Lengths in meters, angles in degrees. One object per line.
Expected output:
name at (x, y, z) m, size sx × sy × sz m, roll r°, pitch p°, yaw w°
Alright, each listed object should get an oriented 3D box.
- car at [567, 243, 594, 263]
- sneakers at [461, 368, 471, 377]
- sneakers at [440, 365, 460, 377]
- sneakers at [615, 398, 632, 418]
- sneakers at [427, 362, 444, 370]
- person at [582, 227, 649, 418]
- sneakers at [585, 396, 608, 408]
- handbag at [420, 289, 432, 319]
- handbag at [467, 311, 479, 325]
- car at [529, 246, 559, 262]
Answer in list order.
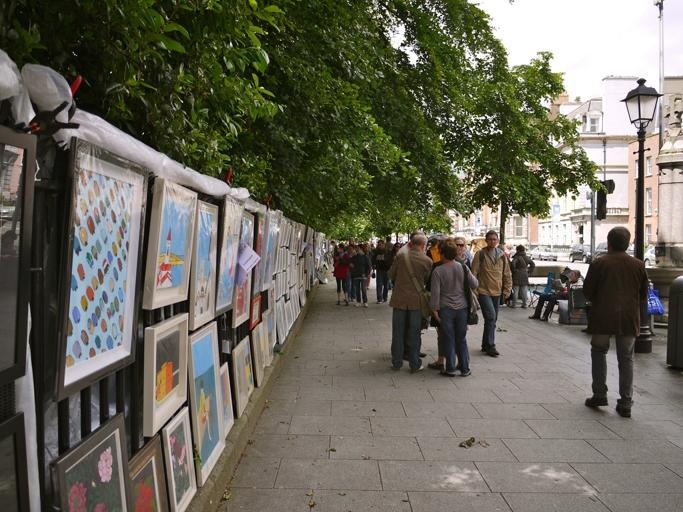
car at (19.197, -0.261, 50.161) m, size 1.388 × 1.387 × 2.384 m, roll 1°, pitch -5°, yaw -16°
sneakers at (1.714, 1.583, 8.622) m, size 0.147 × 0.092 × 0.230 m, roll 1°, pitch 2°, yaw 11°
sneakers at (1.508, 1.585, 8.688) m, size 0.103 × 0.126 × 0.297 m, roll 1°, pitch 2°, yaw -6°
sneakers at (3.052, 1.640, 6.733) m, size 0.087 × 0.114 × 0.254 m, roll 0°, pitch 4°, yaw 15°
sneakers at (1.366, 1.575, 8.994) m, size 0.082 × 0.099 × 0.225 m, roll 2°, pitch 4°, yaw -42°
person at (3.145, 0.677, 7.199) m, size 0.661 × 2.037 × 1.090 m, roll 1°, pitch 2°, yaw 30°
sneakers at (2.867, 1.635, 7.022) m, size 0.106 × 0.135 × 0.259 m, roll 0°, pitch 4°, yaw -12°
handbag at (1.203, 0.669, 8.879) m, size 0.168 × 0.428 × 0.193 m, roll 1°, pitch 1°, yaw 24°
handbag at (1.886, 0.873, 8.916) m, size 0.114 × 0.218 × 0.535 m, roll 1°, pitch 2°, yaw 18°
car at (19.688, -0.289, 60.397) m, size 1.299 × 0.994 × 3.134 m, roll 1°, pitch -1°, yaw 1°
